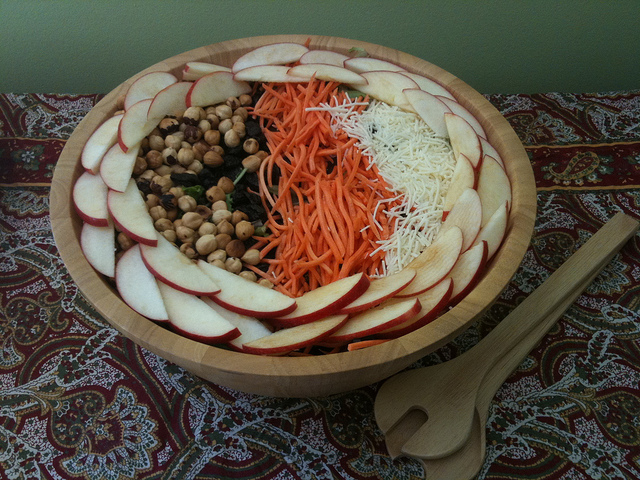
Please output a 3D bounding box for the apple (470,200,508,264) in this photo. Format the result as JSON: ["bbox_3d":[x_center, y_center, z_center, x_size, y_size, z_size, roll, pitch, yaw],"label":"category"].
[{"bbox_3d":[0.473,-0.029,1.591,0.070,0.046,0.187,27,78,20],"label":"apple"}]

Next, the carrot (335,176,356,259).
[{"bbox_3d":[0.064,-0.062,1.604,0.040,0.035,0.230,0,64,-10],"label":"carrot"}]

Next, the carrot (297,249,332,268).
[{"bbox_3d":[-0.013,0.056,1.565,0.071,0.052,0.015,-21,112,-16],"label":"carrot"}]

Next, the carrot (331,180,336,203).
[{"bbox_3d":[0.036,-0.146,1.645,0.015,0.010,0.046,0,70,-11],"label":"carrot"}]

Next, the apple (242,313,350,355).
[{"bbox_3d":[-0.056,0.239,1.445,0.287,0.056,0.069,-17,64,-7],"label":"apple"}]

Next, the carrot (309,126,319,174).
[{"bbox_3d":[-0.018,-0.271,1.695,0.034,0.016,0.119,1,66,2],"label":"carrot"}]

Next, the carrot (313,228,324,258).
[{"bbox_3d":[-0.001,0.004,1.605,0.023,0.024,0.080,-4,87,14],"label":"carrot"}]

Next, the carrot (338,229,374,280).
[{"bbox_3d":[0.119,0.033,1.615,0.047,0.032,0.188,38,57,1],"label":"carrot"}]

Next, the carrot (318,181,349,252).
[{"bbox_3d":[0.073,-0.069,1.628,0.077,0.368,0.044,-9,62,6],"label":"carrot"}]

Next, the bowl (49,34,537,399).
[{"bbox_3d":[-0.078,-0.119,1.628,1.300,0.236,1.090,14,63,10],"label":"bowl"}]

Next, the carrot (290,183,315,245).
[{"bbox_3d":[-0.072,-0.081,1.655,0.054,0.031,0.196,13,43,-37],"label":"carrot"}]

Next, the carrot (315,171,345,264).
[{"bbox_3d":[0.022,-0.071,1.641,0.059,0.034,0.288,1,58,-16],"label":"carrot"}]

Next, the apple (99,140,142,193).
[{"bbox_3d":[-0.549,-0.203,1.592,0.135,0.042,0.186,6,61,-8],"label":"apple"}]

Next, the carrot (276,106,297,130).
[{"bbox_3d":[-0.093,-0.370,1.724,0.019,0.029,0.108,39,98,-6],"label":"carrot"}]
